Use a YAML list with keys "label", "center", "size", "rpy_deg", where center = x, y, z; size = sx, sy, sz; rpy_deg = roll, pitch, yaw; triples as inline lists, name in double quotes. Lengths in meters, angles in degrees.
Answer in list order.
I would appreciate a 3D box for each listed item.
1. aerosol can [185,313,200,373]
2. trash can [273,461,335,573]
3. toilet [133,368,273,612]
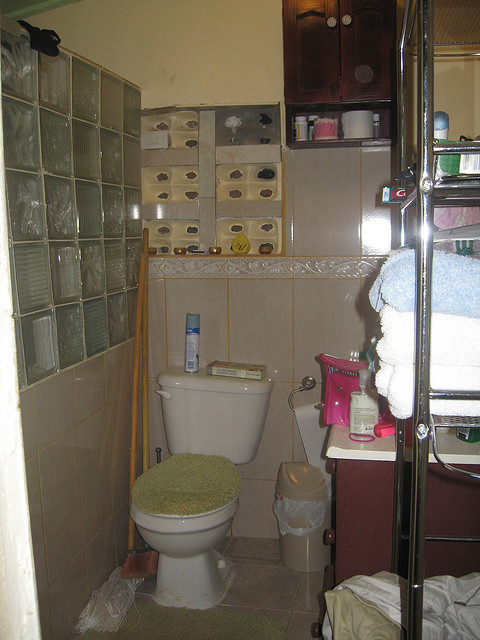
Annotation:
- label: "aerosol can"
  center: [-0.195, 0.091, 2.011]
  size: [0.054, 0.224, 0.083]
  rpy_deg: [-1, 5, -4]
- label: "trash can"
  center: [0.236, 0.760, 2.002]
  size: [0.241, 0.365, 0.329]
  rpy_deg: [1, 8, 7]
- label: "toilet"
  center: [-0.163, 0.610, 1.857]
  size: [0.376, 0.745, 0.657]
  rpy_deg: [4, 8, 9]
